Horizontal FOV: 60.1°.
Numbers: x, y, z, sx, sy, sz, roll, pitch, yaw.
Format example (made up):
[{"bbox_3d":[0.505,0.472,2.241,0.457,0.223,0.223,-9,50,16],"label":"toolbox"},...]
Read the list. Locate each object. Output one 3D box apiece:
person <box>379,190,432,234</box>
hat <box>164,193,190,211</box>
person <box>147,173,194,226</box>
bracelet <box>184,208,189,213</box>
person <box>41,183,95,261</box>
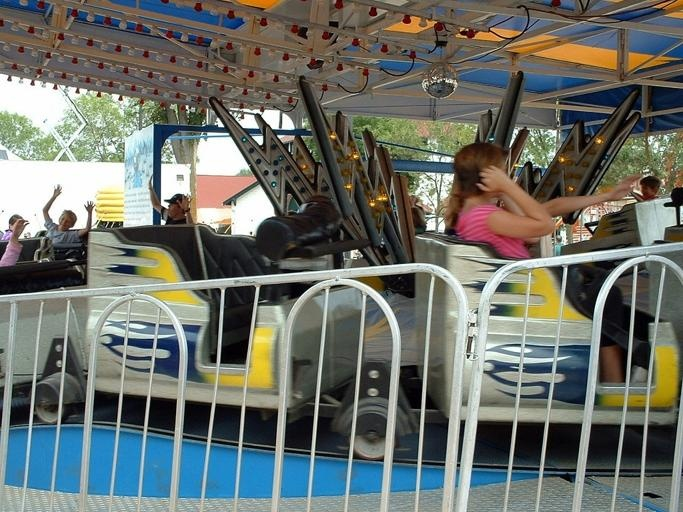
[{"bbox_3d":[0.962,-0.527,7.620,0.409,0.732,0.521,-24,-4,14],"label":"person"},{"bbox_3d":[-2.227,-0.767,8.171,0.384,0.134,0.202,6,2,-14],"label":"hat"},{"bbox_3d":[-2.664,-0.769,9.048,0.565,0.350,1.371,-6,-6,5],"label":"person"},{"bbox_3d":[-2.199,-0.653,8.437,0.083,0.027,0.088,-3,-6,6],"label":"bracelet"},{"bbox_3d":[-4.080,-0.531,8.845,0.662,1.069,1.597,4,-2,-26],"label":"person"}]
